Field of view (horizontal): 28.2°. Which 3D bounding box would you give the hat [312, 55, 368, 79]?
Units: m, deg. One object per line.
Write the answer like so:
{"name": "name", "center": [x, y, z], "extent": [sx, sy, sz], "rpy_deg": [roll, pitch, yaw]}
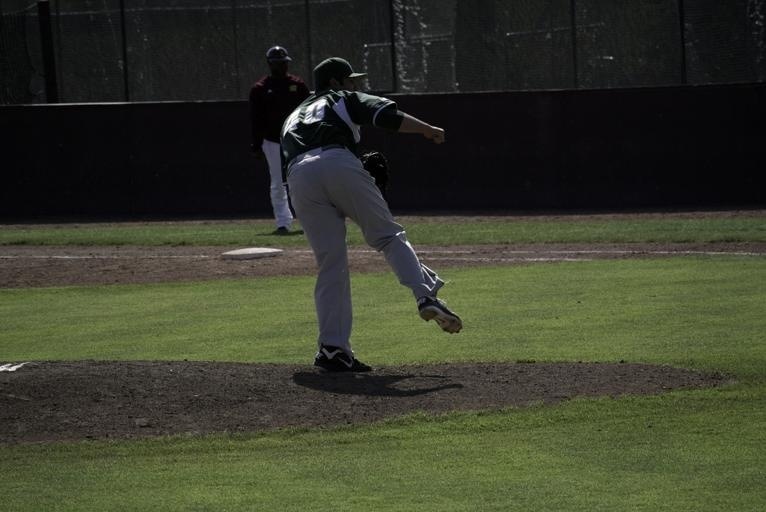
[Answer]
{"name": "hat", "center": [-0.595, -2.346, 19.118], "extent": [0.735, 0.253, 0.461], "rpy_deg": [-5, 9, -7]}
